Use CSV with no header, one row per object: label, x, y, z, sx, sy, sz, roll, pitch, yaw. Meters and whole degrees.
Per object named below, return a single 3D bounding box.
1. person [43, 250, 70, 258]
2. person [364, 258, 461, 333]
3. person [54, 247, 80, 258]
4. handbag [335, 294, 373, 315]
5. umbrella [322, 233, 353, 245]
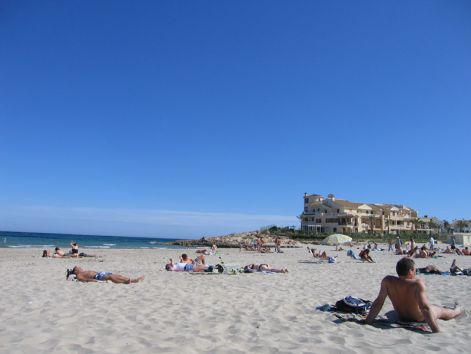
person,-9.372,3.944,24.354,1.759,0.336,0.839,-4,-6,30
person,4.039,2.665,10.530,2.077,0.948,1.406,9,-12,-43
person,-8.980,4.030,24.651,1.405,0.473,0.918,3,-7,-12
handbag,2.733,2.941,11.008,0.600,0.218,0.446,-9,-12,36
umbrella,6.909,4.095,31.548,2.891,0.802,2.562,-3,-9,10
